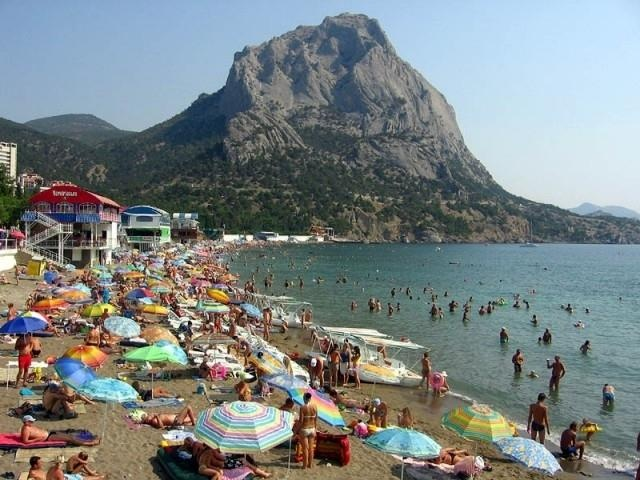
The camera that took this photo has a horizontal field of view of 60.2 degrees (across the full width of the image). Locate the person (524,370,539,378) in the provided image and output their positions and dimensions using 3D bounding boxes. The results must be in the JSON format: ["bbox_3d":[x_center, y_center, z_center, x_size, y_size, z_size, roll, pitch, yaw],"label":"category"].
[{"bbox_3d":[11.135,7.020,28.968,0.616,0.328,1.252,2,-2,23],"label":"person"}]

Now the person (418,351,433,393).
[{"bbox_3d":[5.027,6.195,26.064,0.472,1.663,0.826,2,-2,9],"label":"person"}]

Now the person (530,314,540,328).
[{"bbox_3d":[17.120,6.432,43.852,0.642,0.628,1.478,8,16,12],"label":"person"}]

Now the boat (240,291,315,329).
[{"bbox_3d":[-2.858,5.163,40.245,1.911,2.011,7.324,-2,7,-30],"label":"boat"}]

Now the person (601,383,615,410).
[{"bbox_3d":[13.308,7.311,25.577,0.444,0.723,1.186,-2,27,22],"label":"person"}]

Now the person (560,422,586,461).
[{"bbox_3d":[9.183,7.323,20.220,0.869,1.286,0.866,3,-4,-23],"label":"person"}]

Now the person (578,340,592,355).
[{"bbox_3d":[16.690,6.824,34.833,0.424,0.852,0.478,-30,40,-35],"label":"person"}]

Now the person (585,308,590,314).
[{"bbox_3d":[24.858,6.630,51.447,0.270,0.314,0.778,2,5,10],"label":"person"}]

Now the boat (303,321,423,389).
[{"bbox_3d":[1.798,5.951,28.502,7.506,2.659,2.465,12,7,35],"label":"boat"}]

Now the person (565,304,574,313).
[{"bbox_3d":[23.504,6.508,52.158,0.409,0.805,1.276,3,4,10],"label":"person"}]

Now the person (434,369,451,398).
[{"bbox_3d":[5.574,6.698,25.633,0.936,0.926,0.565,5,-3,-44],"label":"person"}]

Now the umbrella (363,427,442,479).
[{"bbox_3d":[2.404,6.235,15.874,1.280,0.879,1.284,7,5,13],"label":"umbrella"}]

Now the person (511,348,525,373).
[{"bbox_3d":[10.616,6.514,29.648,0.500,1.136,1.402,2,-2,19],"label":"person"}]

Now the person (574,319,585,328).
[{"bbox_3d":[20.402,6.659,43.450,0.685,0.355,0.810,3,0,15],"label":"person"}]

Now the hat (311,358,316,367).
[{"bbox_3d":[-0.261,5.176,23.151,0.275,0.375,0.169,-1,6,5],"label":"hat"}]
